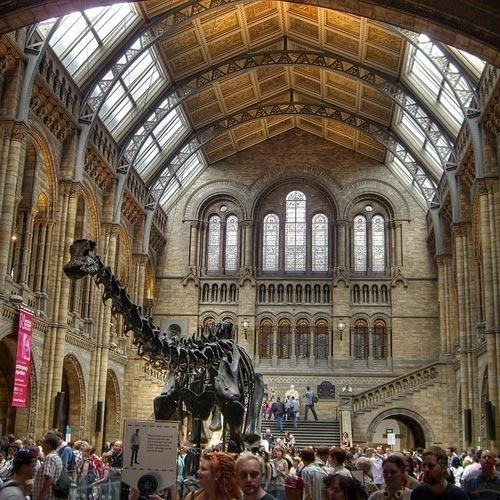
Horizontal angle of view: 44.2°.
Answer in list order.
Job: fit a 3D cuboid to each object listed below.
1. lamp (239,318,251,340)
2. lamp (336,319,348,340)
[{"bbox_3d":[-0.299,4.465,34.596,0.535,1.239,0.381,2,-21,0],"label":"lamp"},{"bbox_3d":[5.036,4.370,34.041,0.526,1.187,0.733,-5,-22,19],"label":"lamp"}]
